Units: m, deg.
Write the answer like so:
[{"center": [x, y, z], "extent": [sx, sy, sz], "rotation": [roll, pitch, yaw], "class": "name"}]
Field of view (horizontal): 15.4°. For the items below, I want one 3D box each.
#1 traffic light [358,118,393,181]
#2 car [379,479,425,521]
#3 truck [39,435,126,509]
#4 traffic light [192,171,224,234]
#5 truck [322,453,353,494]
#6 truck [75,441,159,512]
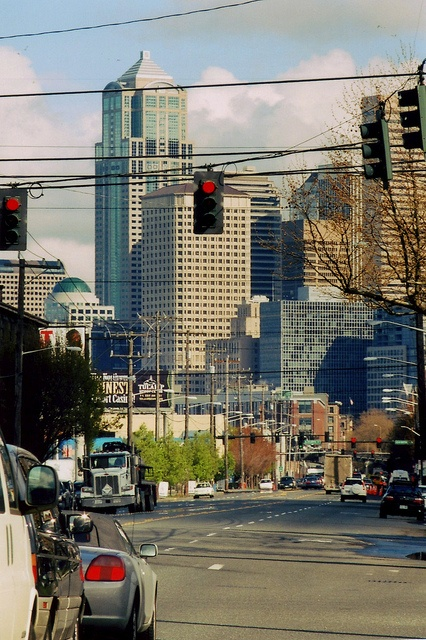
[{"center": [2.485, -2.534, 23.796], "extent": [0.476, 1.375, 0.475], "rotation": [4, -6, 1], "class": "traffic light"}, {"center": [6.060, 5.757, 49.888], "extent": [1.348, 1.134, 2.354], "rotation": [-2, -6, 8], "class": "car"}, {"center": [-3.101, 5.285, 51.292], "extent": [1.801, 2.549, 4.793], "rotation": [-5, -13, 4], "class": "truck"}, {"center": [-0.055, -1.988, 26.345], "extent": [0.481, 1.153, 0.834], "rotation": [-1, -5, -1], "class": "traffic light"}, {"center": [7.519, 8.944, 93.114], "extent": [1.245, 1.773, 2.695], "rotation": [1, 0, 6], "class": "truck"}, {"center": [-3.056, 5.147, 50.885], "extent": [1.669, 2.075, 3.888], "rotation": [-1, -10, 5], "class": "truck"}]
